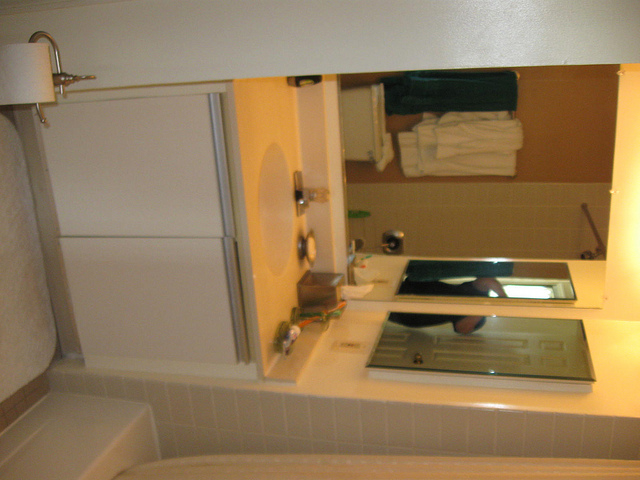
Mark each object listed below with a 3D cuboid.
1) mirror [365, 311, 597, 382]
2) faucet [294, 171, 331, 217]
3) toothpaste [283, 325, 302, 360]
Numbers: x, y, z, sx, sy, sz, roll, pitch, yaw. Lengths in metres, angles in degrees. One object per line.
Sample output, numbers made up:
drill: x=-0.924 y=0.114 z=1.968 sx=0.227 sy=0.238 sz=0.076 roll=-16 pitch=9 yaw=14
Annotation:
mirror: x=0.703 y=0.457 z=2.398 sx=0.926 sy=0.088 sz=0.450 roll=1 pitch=15 yaw=12
faucet: x=-0.029 y=-0.222 z=2.697 sx=0.187 sy=0.260 sz=0.125 roll=0 pitch=26 yaw=10
toothpaste: x=-0.121 y=0.460 z=2.413 sx=0.053 sy=0.049 sz=0.168 roll=5 pitch=19 yaw=14
